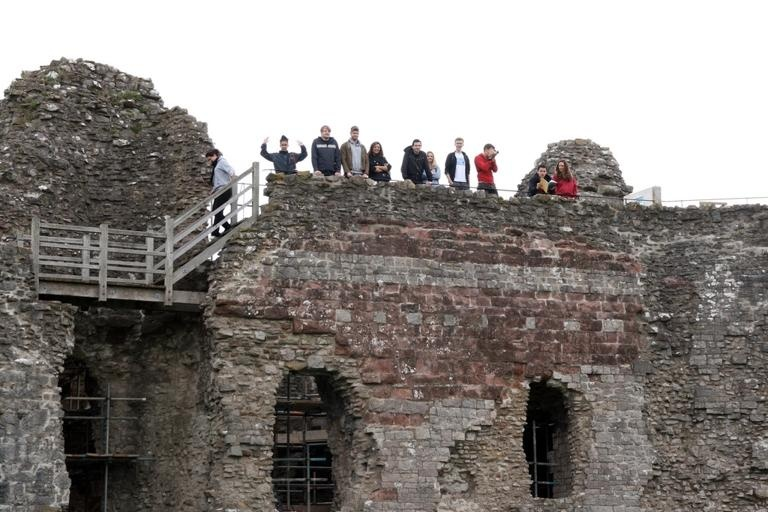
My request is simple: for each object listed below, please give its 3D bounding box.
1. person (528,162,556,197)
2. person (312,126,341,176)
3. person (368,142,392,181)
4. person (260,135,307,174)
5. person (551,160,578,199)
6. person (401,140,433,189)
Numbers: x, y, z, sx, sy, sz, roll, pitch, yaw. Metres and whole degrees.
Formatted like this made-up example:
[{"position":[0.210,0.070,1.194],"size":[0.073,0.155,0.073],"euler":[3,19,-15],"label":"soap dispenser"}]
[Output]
[{"position":[3.599,-1.580,48.713],"size":[0.666,0.940,0.603],"euler":[11,21,28],"label":"person"},{"position":[-1.257,-2.218,47.019],"size":[0.670,1.075,0.536],"euler":[3,-19,-13],"label":"person"},{"position":[-0.143,-2.044,47.268],"size":[0.470,0.786,0.290],"euler":[0,-19,-2],"label":"person"},{"position":[-2.246,-2.168,47.144],"size":[0.967,0.963,0.562],"euler":[0,-18,-4],"label":"person"},{"position":[4.106,-1.715,48.585],"size":[0.533,1.123,0.713],"euler":[-2,-18,4],"label":"person"},{"position":[0.747,-1.975,47.536],"size":[0.696,0.984,0.472],"euler":[10,-22,-31],"label":"person"}]
